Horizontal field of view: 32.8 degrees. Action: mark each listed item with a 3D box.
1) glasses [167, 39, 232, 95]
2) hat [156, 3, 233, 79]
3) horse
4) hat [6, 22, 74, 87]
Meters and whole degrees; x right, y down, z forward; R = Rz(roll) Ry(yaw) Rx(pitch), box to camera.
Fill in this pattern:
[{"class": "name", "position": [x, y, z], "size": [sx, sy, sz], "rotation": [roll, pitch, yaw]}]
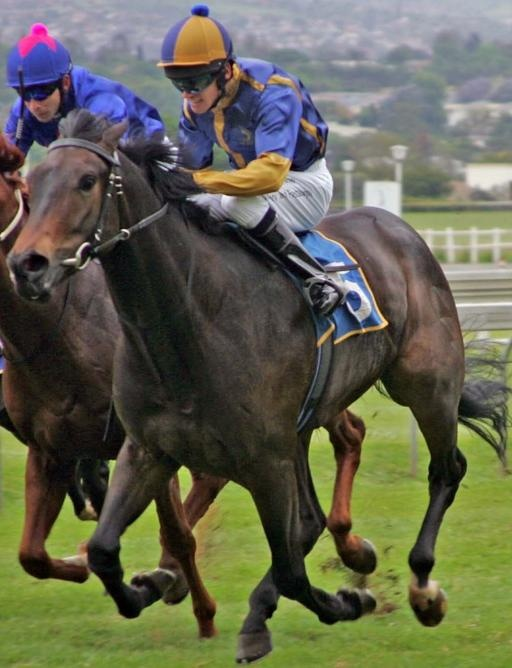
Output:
[{"class": "glasses", "position": [-0.161, -0.740, 2.450], "size": [0.205, 0.089, 0.192], "rotation": [-4, 33, 12]}, {"class": "hat", "position": [-0.165, -0.819, 2.421], "size": [0.153, 0.212, 0.271], "rotation": [4, 10, 31]}, {"class": "horse", "position": [0.024, 0.232, 2.567], "size": [0.538, 1.617, 1.859], "rotation": [7, 12, 42]}, {"class": "hat", "position": [-0.731, -0.930, 2.944], "size": [0.166, 0.212, 0.250], "rotation": [-1, 8, 8]}]
